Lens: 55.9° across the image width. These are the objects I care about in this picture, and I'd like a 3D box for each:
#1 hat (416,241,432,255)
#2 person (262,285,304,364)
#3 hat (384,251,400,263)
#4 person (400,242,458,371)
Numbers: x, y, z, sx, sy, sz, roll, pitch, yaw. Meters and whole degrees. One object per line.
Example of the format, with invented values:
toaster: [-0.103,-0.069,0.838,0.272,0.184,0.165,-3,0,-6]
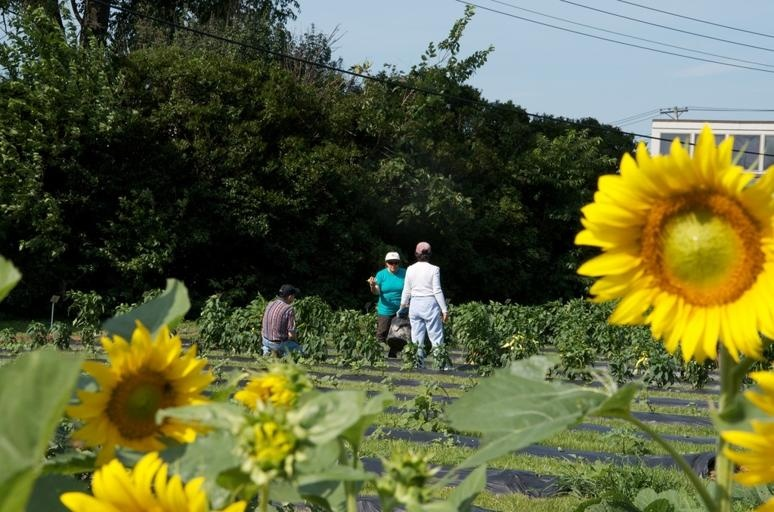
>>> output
hat: [0.483,-0.088,9.681,0.181,0.199,0.234,3,12,7]
person: [-1.313,0.779,9.030,0.498,0.909,1.386,-7,-6,-9]
hat: [0.072,-0.008,12.762,0.312,0.144,0.459,1,0,-4]
person: [0.492,0.697,9.829,0.621,1.151,1.211,-8,-5,1]
